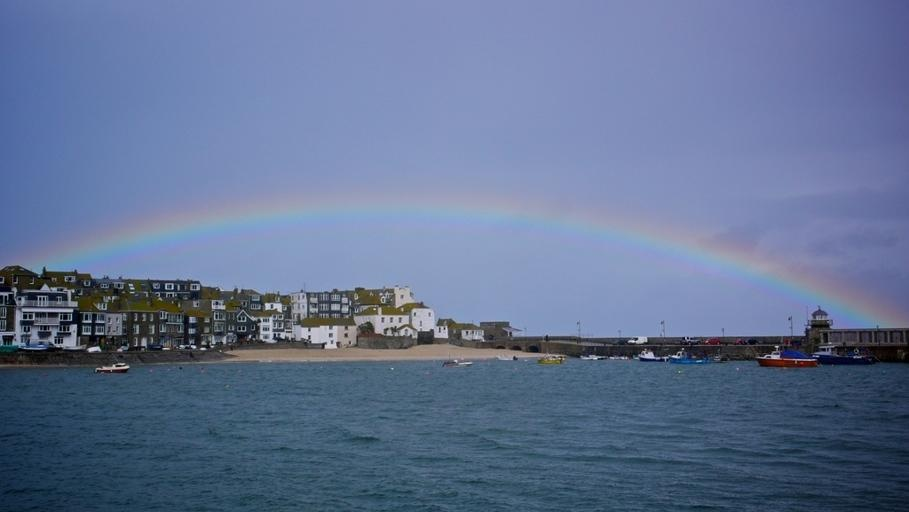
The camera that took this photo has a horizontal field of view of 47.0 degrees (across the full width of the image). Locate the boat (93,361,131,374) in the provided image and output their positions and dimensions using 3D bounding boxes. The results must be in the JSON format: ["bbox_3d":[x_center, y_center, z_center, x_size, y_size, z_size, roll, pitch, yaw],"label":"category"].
[{"bbox_3d":[-62.543,20.531,189.148,4.705,1.437,2.417,0,-3,5],"label":"boat"}]

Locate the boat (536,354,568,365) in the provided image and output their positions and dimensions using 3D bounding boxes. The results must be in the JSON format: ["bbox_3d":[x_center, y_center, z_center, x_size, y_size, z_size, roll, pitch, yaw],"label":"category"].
[{"bbox_3d":[21.949,23.649,237.158,5.002,1.724,2.568,1,-6,4],"label":"boat"}]

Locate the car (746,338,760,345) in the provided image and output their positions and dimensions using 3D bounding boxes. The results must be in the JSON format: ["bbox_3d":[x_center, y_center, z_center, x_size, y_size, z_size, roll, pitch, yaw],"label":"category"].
[{"bbox_3d":[70.236,20.232,246.229,3.061,1.406,1.732,0,2,-42],"label":"car"}]
